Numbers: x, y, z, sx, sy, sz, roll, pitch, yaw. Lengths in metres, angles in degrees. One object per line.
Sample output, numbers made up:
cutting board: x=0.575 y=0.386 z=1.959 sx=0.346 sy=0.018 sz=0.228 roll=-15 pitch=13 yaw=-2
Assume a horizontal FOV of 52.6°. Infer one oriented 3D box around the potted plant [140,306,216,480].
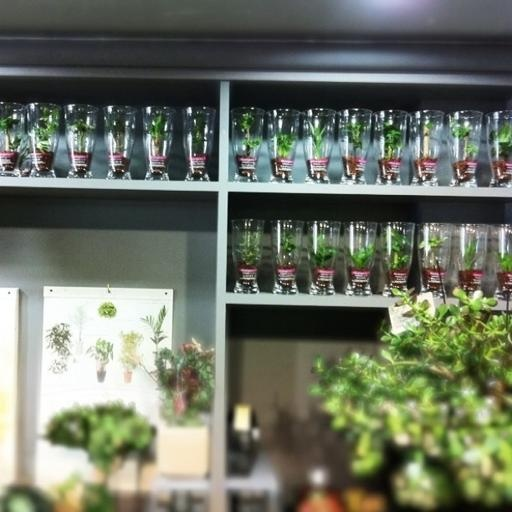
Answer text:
potted plant: x=-0.232 y=0.397 z=1.492 sx=0.215 sy=0.443 sz=0.177 roll=4 pitch=-9 yaw=-24
